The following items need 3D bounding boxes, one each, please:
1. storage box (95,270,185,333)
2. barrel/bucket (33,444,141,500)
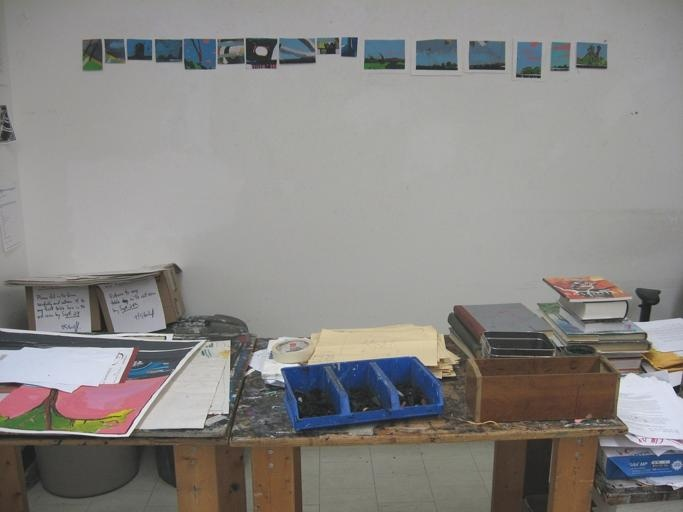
[{"bbox_3d":[-1.027,0.222,3.012,0.330,0.211,0.317,-8,6,-18],"label":"storage box"},{"bbox_3d":[-1.278,0.994,2.960,0.400,0.274,0.386,0,4,0],"label":"barrel/bucket"}]
